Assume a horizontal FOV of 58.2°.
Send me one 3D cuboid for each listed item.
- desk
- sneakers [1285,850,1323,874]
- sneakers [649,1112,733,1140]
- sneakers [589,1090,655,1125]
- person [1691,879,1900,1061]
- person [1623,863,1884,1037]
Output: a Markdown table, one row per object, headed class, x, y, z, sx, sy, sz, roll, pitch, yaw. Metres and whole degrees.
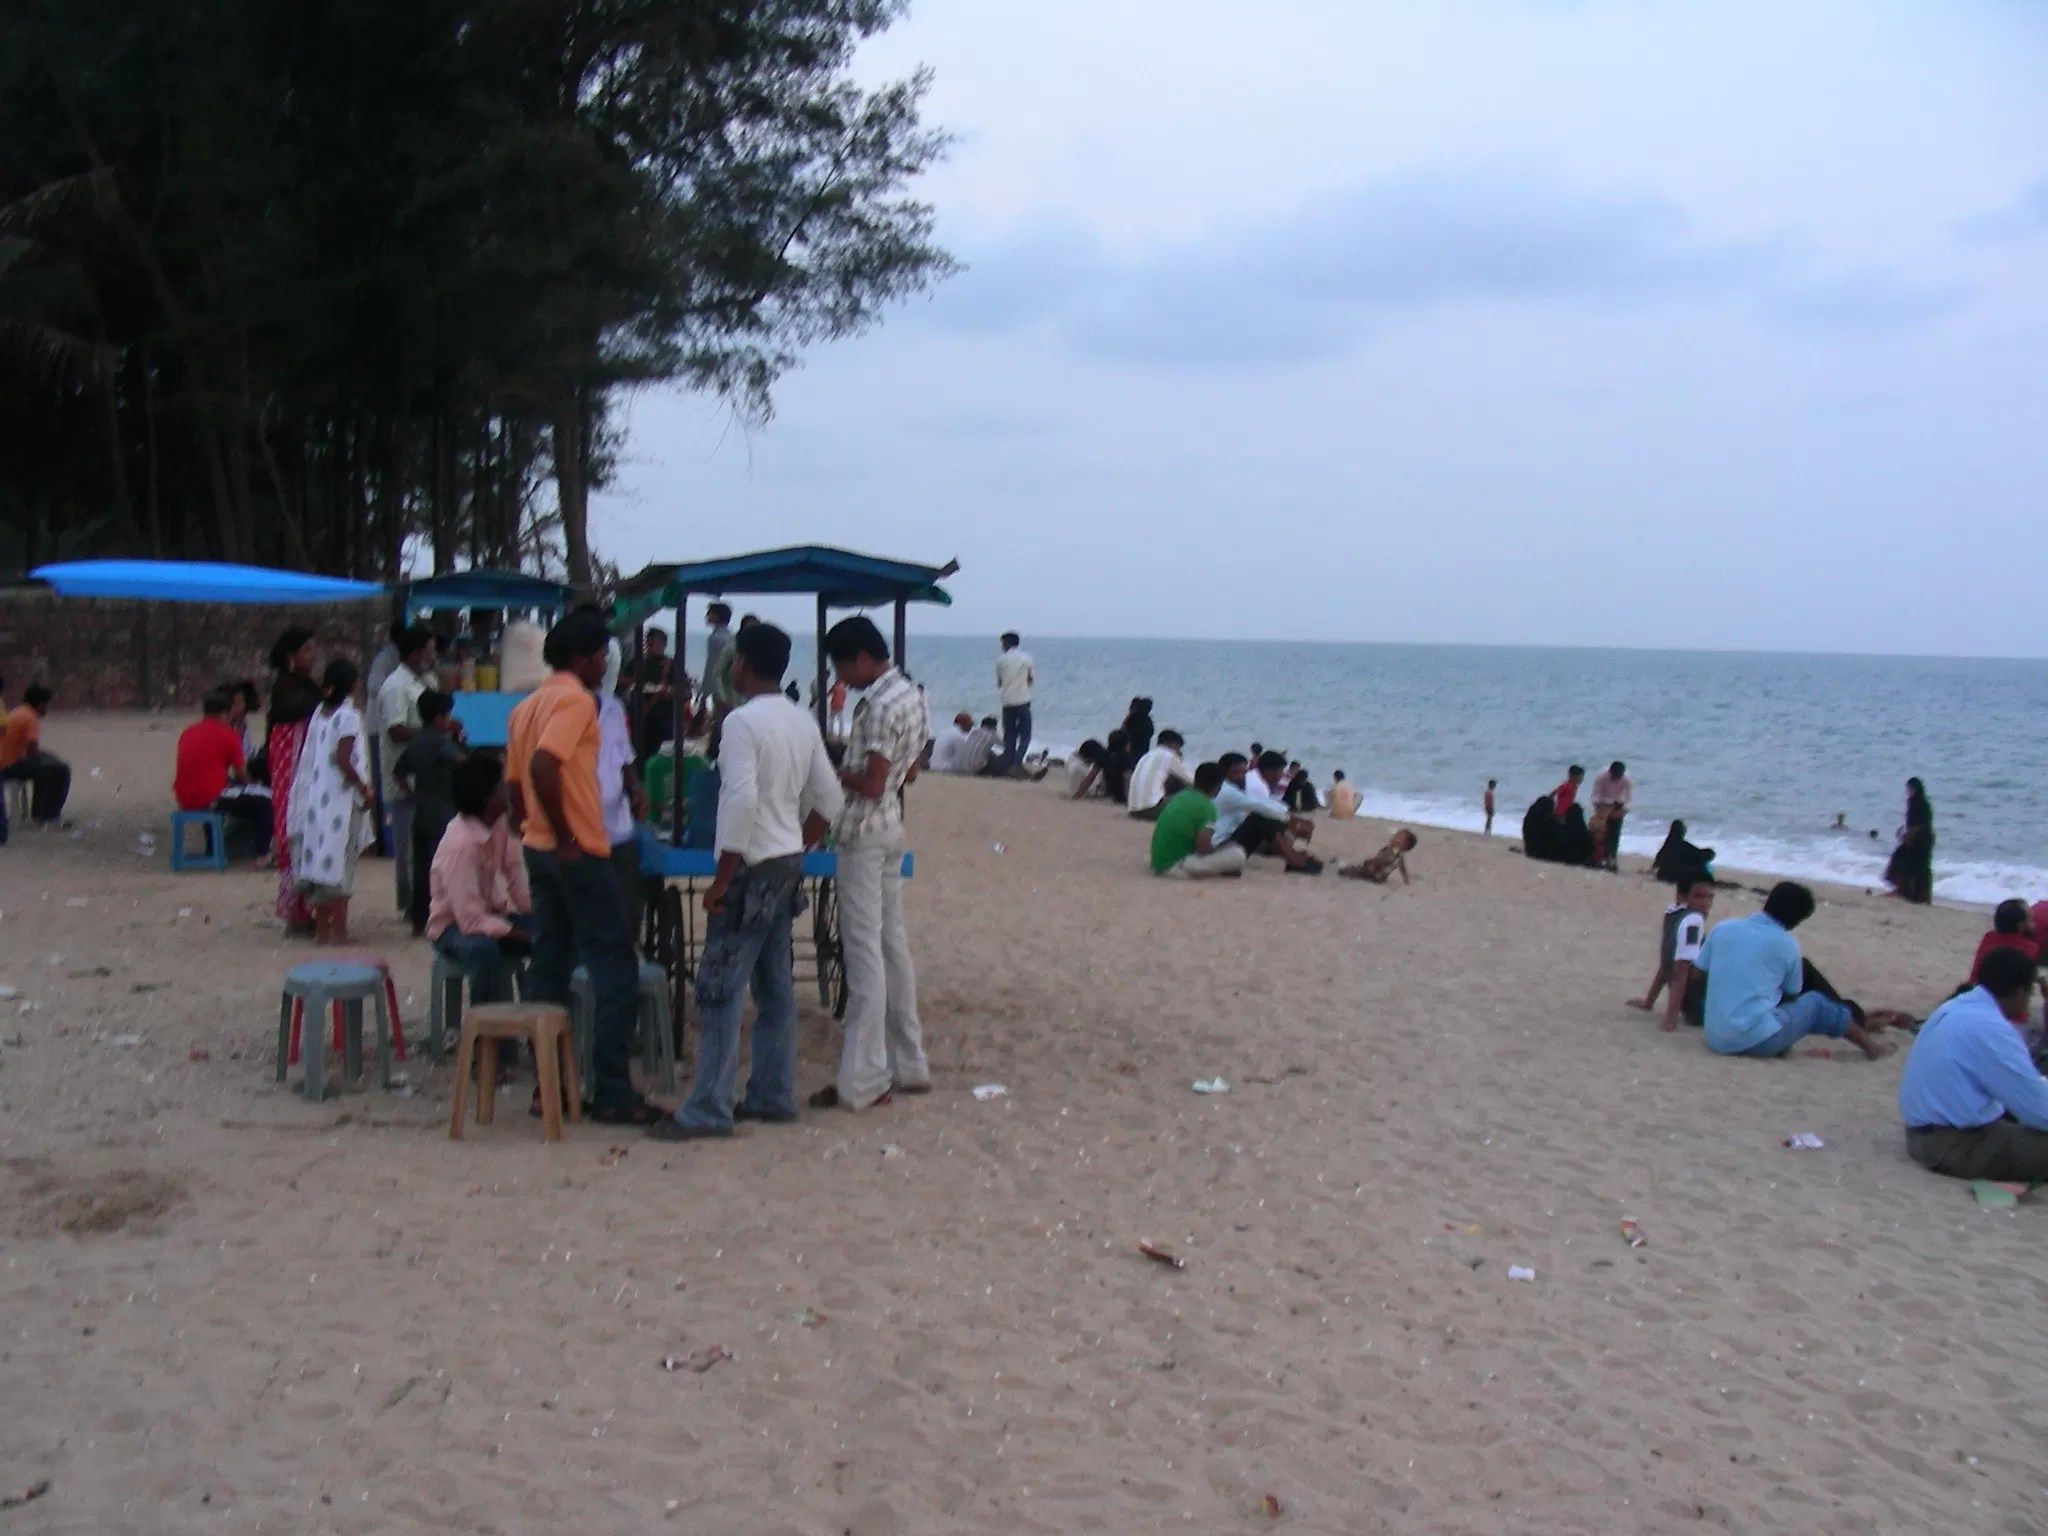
| class | x | y | z | sx | sy | sz | roll | pitch | yaw |
| --- | --- | --- | --- | --- | --- | --- | --- | --- | --- |
| desk | -1.719 | 1.024 | 10.828 | 0.988 | 1.035 | 1.522 | -1 | -2 | -7 |
| sneakers | 2.926 | 1.019 | 19.289 | 0.173 | 0.176 | 0.342 | 4 | -5 | -33 |
| sneakers | -1.721 | 1.852 | 9.503 | 0.414 | 0.199 | 0.165 | 1 | 16 | -2 |
| sneakers | -2.120 | 1.804 | 9.707 | 0.385 | 0.196 | 0.143 | -1 | 4 | -1 |
| person | 5.205 | 1.348 | 12.407 | 1.155 | 1.248 | 0.810 | 4 | 10 | 6 |
| person | 5.120 | 1.301 | 12.773 | 1.654 | 1.168 | 1.337 | 10 | 9 | 28 |
